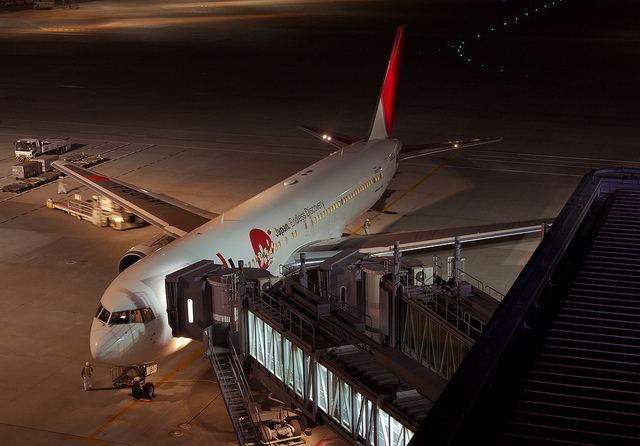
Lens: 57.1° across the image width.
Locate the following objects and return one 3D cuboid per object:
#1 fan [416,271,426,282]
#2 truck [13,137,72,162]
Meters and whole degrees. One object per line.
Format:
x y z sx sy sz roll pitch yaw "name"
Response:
4.289 2.243 25.057 0.357 0.408 0.400 13 23 19 "fan"
-25.954 -7.159 55.921 2.481 1.380 5.330 7 15 28 "truck"
